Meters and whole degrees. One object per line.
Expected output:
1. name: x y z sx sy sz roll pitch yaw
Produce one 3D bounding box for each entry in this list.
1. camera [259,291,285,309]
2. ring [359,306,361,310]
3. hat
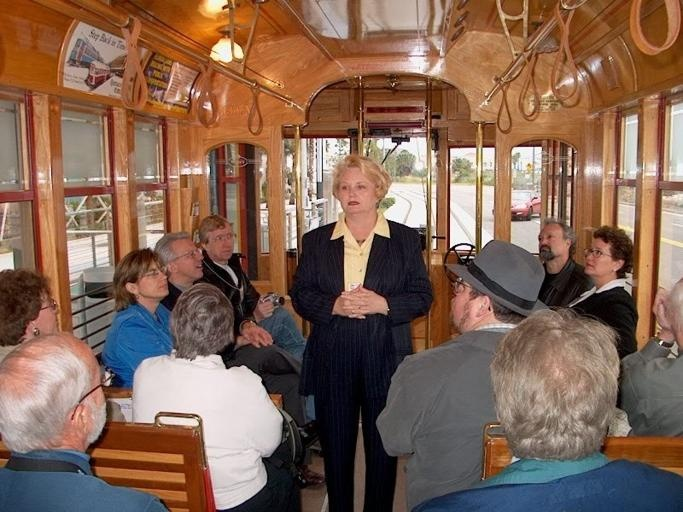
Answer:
1. camera: -0.618 0.366 4.354 0.227 0.097 0.137 3 -9 29
2. ring: 0.102 0.274 2.752 0.013 0.022 0.013 -2 2 0
3. hat: 0.654 0.078 2.171 0.316 0.124 0.332 27 7 -26
